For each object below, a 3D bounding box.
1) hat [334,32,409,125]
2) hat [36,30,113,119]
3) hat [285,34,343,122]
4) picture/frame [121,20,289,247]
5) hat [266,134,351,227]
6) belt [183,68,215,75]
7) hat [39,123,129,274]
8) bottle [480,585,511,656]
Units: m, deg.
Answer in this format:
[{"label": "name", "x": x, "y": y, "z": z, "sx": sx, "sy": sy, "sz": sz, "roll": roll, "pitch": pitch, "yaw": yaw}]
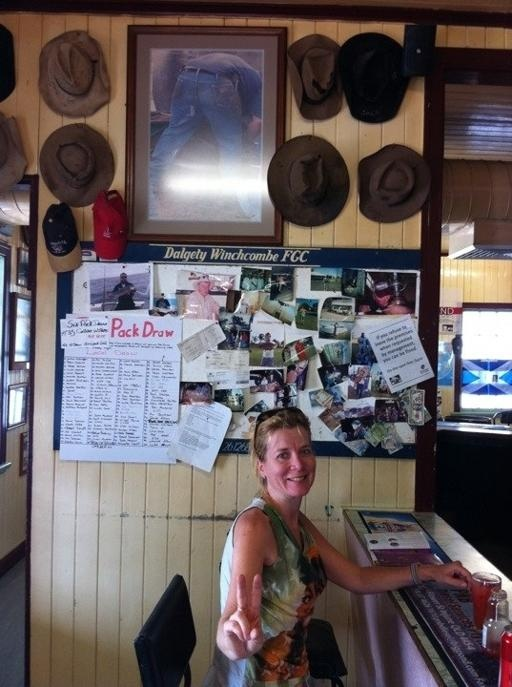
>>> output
[{"label": "hat", "x": 0.431, "y": -0.961, "z": 2.392, "sx": 0.231, "sy": 0.322, "sz": 0.091, "roll": -1, "pitch": 18, "yaw": -2}, {"label": "hat", "x": -0.676, "y": -0.997, "z": 2.329, "sx": 0.224, "sy": 0.332, "sz": 0.085, "roll": -6, "pitch": 8, "yaw": -1}, {"label": "hat", "x": 0.216, "y": -0.973, "z": 2.442, "sx": 0.184, "sy": 0.314, "sz": 0.095, "roll": -3, "pitch": 13, "yaw": -2}, {"label": "picture/frame", "x": -0.172, "y": -0.818, "z": 2.439, "sx": 0.736, "sy": 1.100, "sz": 0.046, "roll": 0, "pitch": 3, "yaw": 2}, {"label": "hat", "x": 0.189, "y": -0.604, "z": 2.384, "sx": 0.305, "sy": 0.337, "sz": 0.173, "roll": 1, "pitch": 1, "yaw": 7}, {"label": "belt", "x": -0.212, "y": -1.018, "z": 2.436, "sx": 0.103, "sy": 0.027, "sz": 0.006, "roll": 1, "pitch": 1, "yaw": -1}, {"label": "hat", "x": -0.622, "y": -0.531, "z": 2.363, "sx": 0.292, "sy": 0.575, "sz": 0.131, "roll": -4, "pitch": 9, "yaw": -1}, {"label": "bottle", "x": 0.560, "y": 0.643, "z": 1.531, "sx": 0.062, "sy": 0.148, "sz": 0.135, "roll": 1, "pitch": 1, "yaw": 20}]
